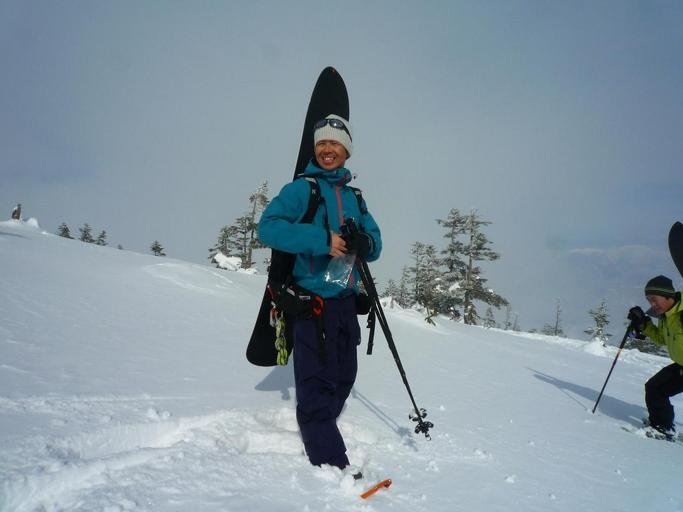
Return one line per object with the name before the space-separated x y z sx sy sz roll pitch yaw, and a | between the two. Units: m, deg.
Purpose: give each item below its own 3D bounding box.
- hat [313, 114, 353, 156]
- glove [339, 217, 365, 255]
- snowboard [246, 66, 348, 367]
hat | -0.067 -1.382 5.617 0.359 0.438 0.517 3 -23 23
glove | 0.048 -0.195 4.965 0.110 0.331 0.312 -12 5 39
snowboard | -0.356 -0.139 5.155 0.199 4.319 0.590 -2 -21 37
